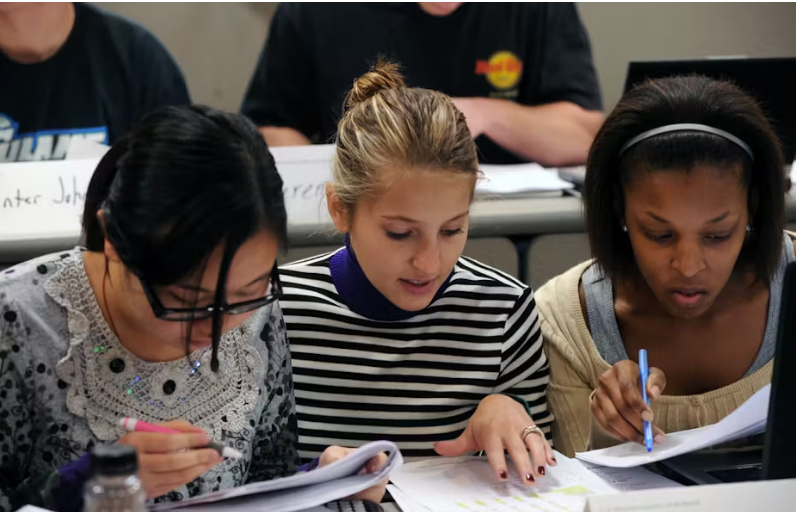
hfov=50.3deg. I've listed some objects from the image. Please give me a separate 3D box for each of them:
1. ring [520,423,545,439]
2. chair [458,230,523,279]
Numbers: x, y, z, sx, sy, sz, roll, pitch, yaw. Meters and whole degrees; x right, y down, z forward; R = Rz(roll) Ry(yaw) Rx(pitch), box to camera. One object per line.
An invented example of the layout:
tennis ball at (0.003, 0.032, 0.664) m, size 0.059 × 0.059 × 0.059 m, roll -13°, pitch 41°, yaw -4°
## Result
ring at (0.324, 0.418, 2.059) m, size 0.057 × 0.026 × 0.053 m, roll -2°, pitch 18°, yaw 1°
chair at (0.324, -0.012, 2.870) m, size 0.170 × 0.160 × 0.131 m, roll 1°, pitch 34°, yaw -1°
